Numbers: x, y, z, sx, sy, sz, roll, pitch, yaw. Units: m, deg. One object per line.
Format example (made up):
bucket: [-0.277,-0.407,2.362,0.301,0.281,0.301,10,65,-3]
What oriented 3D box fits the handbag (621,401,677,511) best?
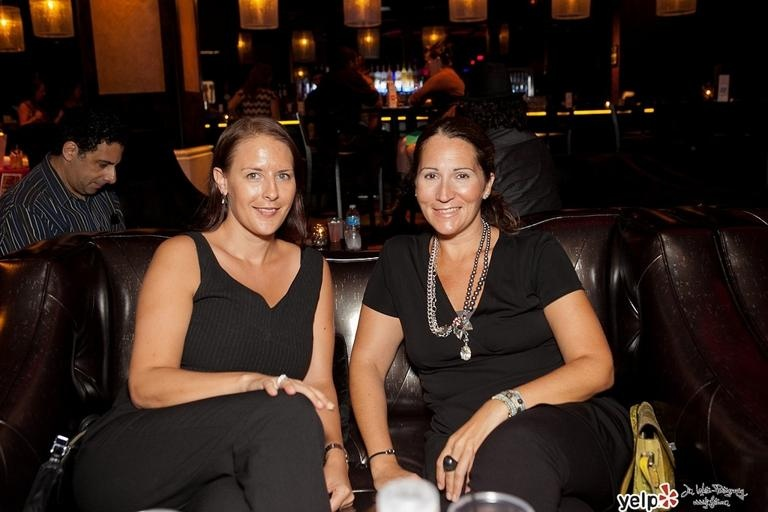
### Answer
handbag: [0.840,0.653,1.830,0.144,0.375,0.148,-3,-15,13]

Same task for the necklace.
necklace: [0.293,0.122,2.162,0.186,0.550,0.067,1,-34,1]

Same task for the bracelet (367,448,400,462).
bracelet: [-0.009,0.713,2.014,0.083,0.023,0.077,-23,-11,22]

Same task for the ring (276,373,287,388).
ring: [-0.333,0.406,1.807,0.026,0.036,0.012,7,-6,-5]

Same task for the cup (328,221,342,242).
cup: [-0.348,-0.175,4.013,0.126,0.143,0.128,-1,8,0]

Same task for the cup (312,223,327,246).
cup: [-0.417,-0.125,3.614,0.110,0.154,0.151,-1,2,0]

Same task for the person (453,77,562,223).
person: [0.755,-0.648,3.705,0.586,1.079,0.757,-3,3,20]

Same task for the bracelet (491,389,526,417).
bracelet: [0.432,0.504,1.920,0.095,0.069,0.089,7,11,43]
